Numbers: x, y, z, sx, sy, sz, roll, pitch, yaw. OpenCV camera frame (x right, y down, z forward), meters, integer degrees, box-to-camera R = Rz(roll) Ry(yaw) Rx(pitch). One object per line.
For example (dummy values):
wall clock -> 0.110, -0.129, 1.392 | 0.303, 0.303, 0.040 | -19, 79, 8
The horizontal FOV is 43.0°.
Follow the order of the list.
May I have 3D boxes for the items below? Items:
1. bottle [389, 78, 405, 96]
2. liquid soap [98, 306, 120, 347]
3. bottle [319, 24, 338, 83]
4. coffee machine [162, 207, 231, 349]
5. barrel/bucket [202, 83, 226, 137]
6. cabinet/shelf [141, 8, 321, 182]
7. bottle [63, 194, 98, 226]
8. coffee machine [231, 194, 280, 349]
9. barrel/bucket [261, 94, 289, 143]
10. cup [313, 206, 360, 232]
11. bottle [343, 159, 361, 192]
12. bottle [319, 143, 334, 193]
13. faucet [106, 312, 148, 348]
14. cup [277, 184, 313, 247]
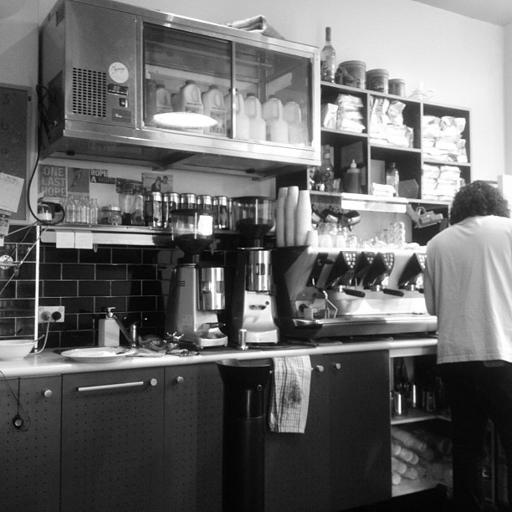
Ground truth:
bottle -> 0.956, -1.147, 4.476 | 0.110, 0.133, 0.114 | 0, 0, 36
liquid soap -> -0.748, 0.368, 3.356 | 0.152, 0.194, 0.128 | 0, -2, -36
bottle -> 0.453, -1.261, 4.111 | 0.097, 0.384, 0.191 | -1, -1, 6
coffee machine -> -0.316, 0.117, 3.391 | 0.314, 0.713, 0.273 | -1, -2, -8
barrel/bucket -> -0.217, -0.760, 3.501 | 0.118, 0.297, 0.149 | 4, -10, -25
cabinet/shelf -> -0.191, -0.902, 3.765 | 1.025, 0.735, 0.656 | 3, -1, -18
bottle -> -0.896, -0.229, 3.375 | 0.159, 0.261, 0.154 | 0, 1, 0
coffee machine -> -0.017, 0.074, 3.598 | 0.270, 0.794, 0.528 | -1, -1, -3
barrel/bucket -> 0.088, -0.754, 3.725 | 0.156, 0.284, 0.146 | -4, -1, 0
cup -> 0.497, -0.238, 4.058 | 0.332, 0.135, 0.168 | 0, -2, -37
bottle -> 0.622, -0.522, 4.221 | 0.100, 0.233, 0.114 | -2, -2, 28
bottle -> 0.465, -0.580, 4.252 | 0.087, 0.341, 0.313 | -1, -1, 7
faucet -> -0.688, 0.386, 3.408 | 0.045, 0.130, 0.293 | -16, 4, -23
cup -> 0.225, -0.235, 3.803 | 0.140, 0.353, 0.355 | 0, -2, -33
